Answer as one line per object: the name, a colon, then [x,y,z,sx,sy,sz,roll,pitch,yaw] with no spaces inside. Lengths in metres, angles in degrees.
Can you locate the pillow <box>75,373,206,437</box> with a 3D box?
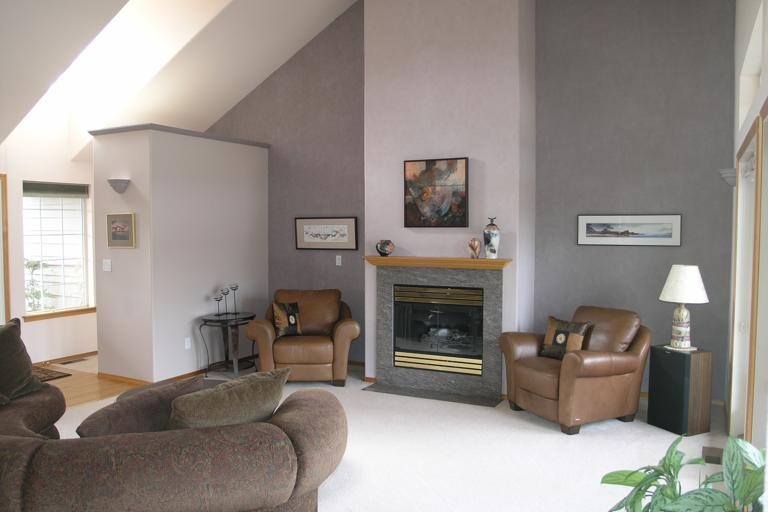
pillow: [-1.765,1.092,3.860,0.564,0.162,0.511,-5,0,1]

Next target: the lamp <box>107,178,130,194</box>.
lamp: [-3.300,-0.889,6.880,0.235,0.130,0.205,0,-1,5]

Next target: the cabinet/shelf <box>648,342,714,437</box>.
cabinet/shelf: [3.032,1.378,5.674,0.602,0.826,0.426,5,12,27]

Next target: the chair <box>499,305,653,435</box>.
chair: [2.042,1.062,6.053,1.360,1.143,1.335,0,0,-32]

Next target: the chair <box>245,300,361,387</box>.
chair: [-0.985,1.044,7.089,1.186,0.899,0.915,0,-5,0]

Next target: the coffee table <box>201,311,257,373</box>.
coffee table: [-2.032,1.177,7.586,0.784,0.804,0.828,4,6,29]

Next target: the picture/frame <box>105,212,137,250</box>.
picture/frame: [-3.300,-0.320,6.959,0.475,0.441,0.034,3,6,26]

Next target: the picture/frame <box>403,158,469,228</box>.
picture/frame: [0.667,-0.776,6.680,0.902,0.905,0.074,0,4,18]

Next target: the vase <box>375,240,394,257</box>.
vase: [0.018,-0.103,6.902,0.227,0.208,0.146,0,10,3]

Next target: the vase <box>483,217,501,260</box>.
vase: [1.256,-0.211,6.438,0.201,0.459,0.212,1,11,10]

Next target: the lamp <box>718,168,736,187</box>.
lamp: [3.409,-0.786,5.478,0.149,0.159,0.304,6,12,31]
